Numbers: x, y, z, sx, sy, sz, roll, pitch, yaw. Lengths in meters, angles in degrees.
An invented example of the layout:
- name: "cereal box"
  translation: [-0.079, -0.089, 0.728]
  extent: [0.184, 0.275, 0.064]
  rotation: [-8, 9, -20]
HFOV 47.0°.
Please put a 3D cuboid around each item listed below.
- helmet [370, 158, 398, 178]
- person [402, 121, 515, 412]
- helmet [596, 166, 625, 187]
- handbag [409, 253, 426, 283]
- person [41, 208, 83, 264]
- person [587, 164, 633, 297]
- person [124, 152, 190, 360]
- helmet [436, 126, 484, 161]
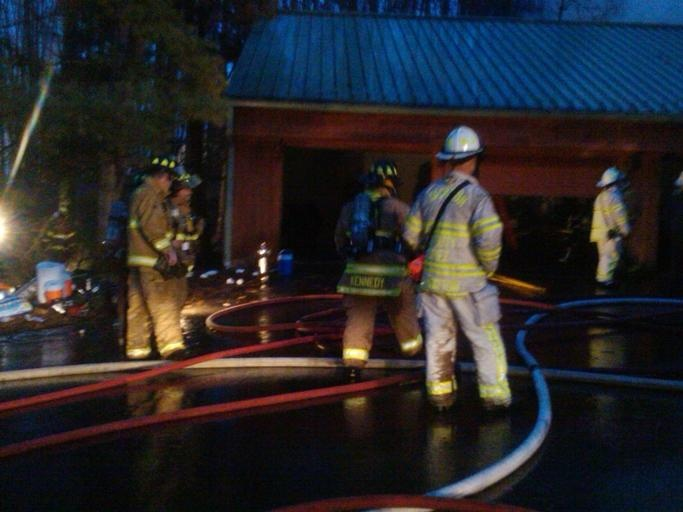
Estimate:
- name: "helmet"
  translation: [0.533, -1.006, 9.192]
  extent: [0.317, 0.199, 0.200]
  rotation: [-12, 17, -12]
- name: "person"
  translation: [1.292, 0.127, 8.347]
  extent: [1.055, 2.956, 0.363]
  rotation: [2, 3, 9]
- name: "helmet"
  translation: [4.498, -1.265, 13.021]
  extent: [0.392, 0.338, 0.288]
  rotation: [2, 3, 17]
- name: "handbag"
  translation: [0.810, 0.141, 8.403]
  extent: [0.244, 0.234, 0.275]
  rotation: [-2, -10, 15]
- name: "person"
  translation: [-4.945, -0.311, 13.819]
  extent: [0.665, 0.950, 0.833]
  rotation: [1, 3, -18]
- name: "person"
  translation: [4.483, -0.440, 13.029]
  extent: [0.588, 2.023, 0.520]
  rotation: [3, 3, 15]
- name: "person"
  translation: [-2.266, 0.041, 9.559]
  extent: [0.738, 2.421, 0.460]
  rotation: [1, 3, -10]
- name: "helmet"
  translation: [1.215, -1.149, 8.469]
  extent: [0.484, 0.212, 0.409]
  rotation: [-2, 19, 34]
